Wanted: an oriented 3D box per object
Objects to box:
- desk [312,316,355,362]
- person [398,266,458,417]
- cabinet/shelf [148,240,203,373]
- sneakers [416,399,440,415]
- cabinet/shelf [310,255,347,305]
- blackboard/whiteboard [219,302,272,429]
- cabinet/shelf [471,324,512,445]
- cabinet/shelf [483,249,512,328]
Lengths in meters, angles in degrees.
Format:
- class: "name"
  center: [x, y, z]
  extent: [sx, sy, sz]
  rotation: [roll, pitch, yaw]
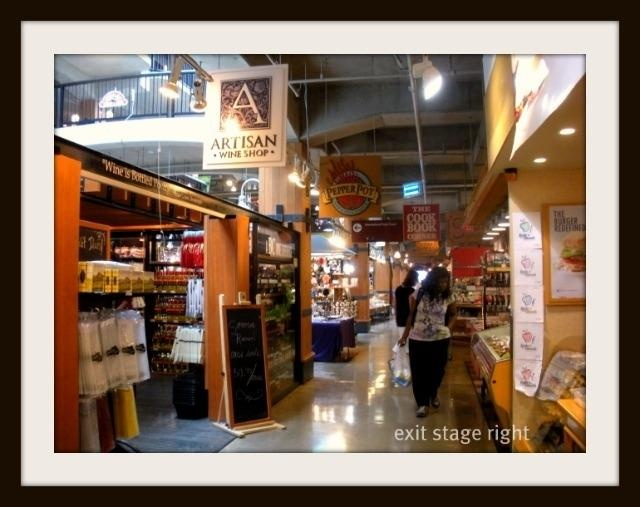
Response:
- class: "desk"
  center: [0.309, 1.864, 11.279]
  extent: [0.678, 0.990, 1.150]
  rotation: [-2, -12, 24]
- class: "person"
  center: [1.309, 1.078, 6.363]
  extent: [0.673, 1.817, 0.823]
  rotation: [0, -10, 15]
- class: "cabinet/shelf"
  center: [-2.448, 0.806, 8.712]
  extent: [0.763, 2.428, 1.572]
  rotation: [8, -12, -29]
- class: "sneakers"
  center: [1.324, 1.922, 6.518]
  extent: [0.146, 0.211, 0.477]
  rotation: [-4, -9, 28]
- class: "cabinet/shelf"
  center: [0.385, 0.750, 15.355]
  extent: [1.437, 1.465, 0.831]
  rotation: [0, 6, 31]
- class: "blackboard/whiteboard"
  center: [-0.832, 1.242, 5.850]
  extent: [0.160, 1.351, 0.656]
  rotation: [-7, -13, 43]
- class: "cabinet/shelf"
  center: [1.970, 1.529, 5.973]
  extent: [0.360, 0.728, 1.198]
  rotation: [0, -6, 11]
- class: "cabinet/shelf"
  center: [3.491, 0.671, 10.078]
  extent: [0.514, 1.644, 0.866]
  rotation: [-1, 0, 23]
